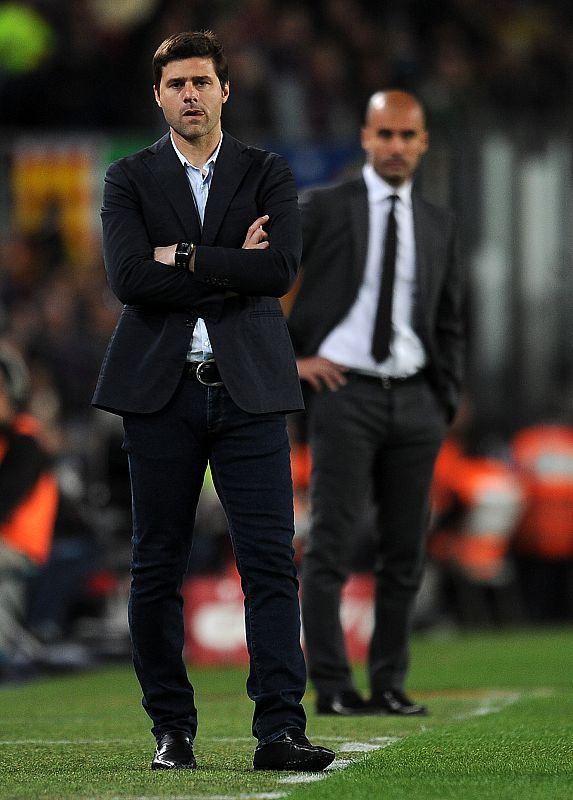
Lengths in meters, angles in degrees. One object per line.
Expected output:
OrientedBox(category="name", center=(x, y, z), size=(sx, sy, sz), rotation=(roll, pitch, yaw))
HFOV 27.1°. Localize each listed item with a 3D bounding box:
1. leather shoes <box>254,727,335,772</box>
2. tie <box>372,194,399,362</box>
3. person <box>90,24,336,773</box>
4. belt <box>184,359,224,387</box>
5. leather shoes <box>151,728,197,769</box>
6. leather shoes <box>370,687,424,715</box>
OrientedBox(category="leather shoes", center=(0.010, 0.713, 2.400), size=(0.186, 0.073, 0.068), rotation=(-10, -16, 32))
OrientedBox(category="tie", center=(0.298, -0.369, 3.600), size=(0.065, 0.510, 0.153), rotation=(2, 8, 4))
OrientedBox(category="person", center=(-0.175, 0.081, 2.500), size=(0.455, 1.318, 0.571), rotation=(0, 8, -10))
OrientedBox(category="belt", center=(-0.172, -0.051, 2.483), size=(0.075, 0.047, 0.020), rotation=(12, 17, 10))
OrientedBox(category="leather shoes", center=(-0.233, 0.724, 2.452), size=(0.089, 0.067, 0.136), rotation=(1, 7, -6))
OrientedBox(category="leather shoes", center=(0.345, 0.934, 3.702), size=(0.205, 0.077, 0.067), rotation=(-1, -1, 18))
